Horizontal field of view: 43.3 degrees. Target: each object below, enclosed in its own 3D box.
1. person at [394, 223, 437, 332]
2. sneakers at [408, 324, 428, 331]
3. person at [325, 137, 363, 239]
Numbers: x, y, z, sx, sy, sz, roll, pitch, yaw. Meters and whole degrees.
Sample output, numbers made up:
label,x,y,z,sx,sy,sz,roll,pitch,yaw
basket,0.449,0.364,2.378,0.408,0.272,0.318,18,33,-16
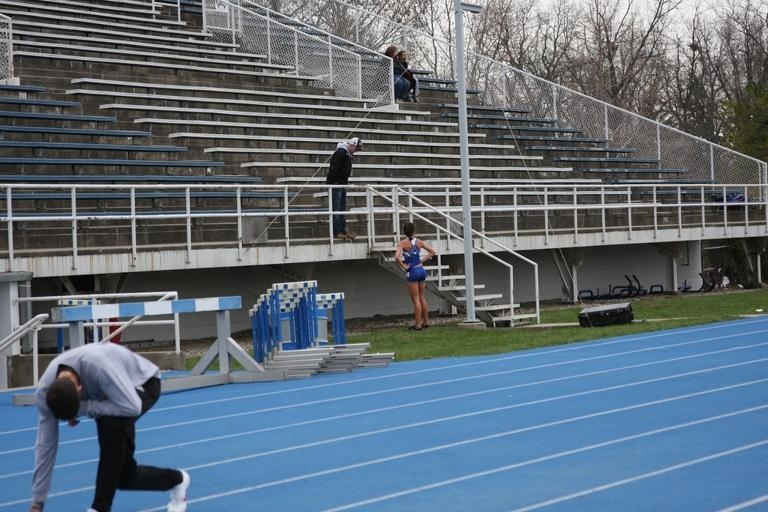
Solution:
label,x,y,z,sx,sy,sz,roll,pitch,yaw
person,0.669,0.432,20.950,0.822,2.327,1.113,-3,-3,3
sneakers,0.719,1.563,21.002,0.411,0.177,0.152,0,2,27
person,-0.900,-1.512,21.369,0.699,2.277,0.733,-2,-3,-4
